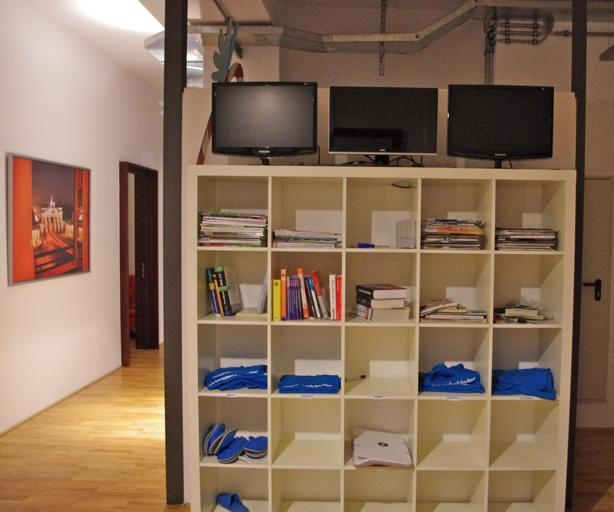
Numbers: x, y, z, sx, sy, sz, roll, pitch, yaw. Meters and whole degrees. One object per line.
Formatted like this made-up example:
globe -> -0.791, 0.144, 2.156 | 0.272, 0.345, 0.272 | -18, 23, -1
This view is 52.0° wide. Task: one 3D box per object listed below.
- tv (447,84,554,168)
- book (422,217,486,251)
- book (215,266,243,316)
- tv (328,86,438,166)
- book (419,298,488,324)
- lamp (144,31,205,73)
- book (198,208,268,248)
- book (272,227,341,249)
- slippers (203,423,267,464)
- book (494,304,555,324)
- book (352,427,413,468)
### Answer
tv -> 1.276, -0.875, 4.167 | 0.510, 0.437, 0.150 | 1, 3, 1
book -> 0.977, -0.145, 4.173 | 0.428, 0.192, 0.117 | -3, 12, -9
book -> -0.537, 0.235, 4.303 | 0.056, 0.281, 0.259 | -10, -5, 6
tv -> 0.502, -0.876, 4.184 | 0.498, 0.411, 0.141 | 0, 5, 0
book -> 0.972, 0.363, 4.256 | 0.451, 0.111, 0.197 | -1, 12, 2
lamp -> -1.164, -1.802, 5.509 | 0.713, 0.191, 0.708 | -1, -3, -5
book -> -0.498, -0.174, 4.209 | 0.466, 0.234, 0.122 | -2, 11, -5
book -> -0.017, -0.112, 4.159 | 0.435, 0.117, 0.099 | -1, 12, 2
slippers -> -0.499, 1.285, 4.262 | 0.288, 0.141, 0.246 | -1, 1, -27
book -> 1.448, 0.389, 4.225 | 0.391, 0.093, 0.174 | -3, 12, -8
book -> 0.508, 1.306, 4.234 | 0.388, 0.098, 0.366 | 0, 13, 4
